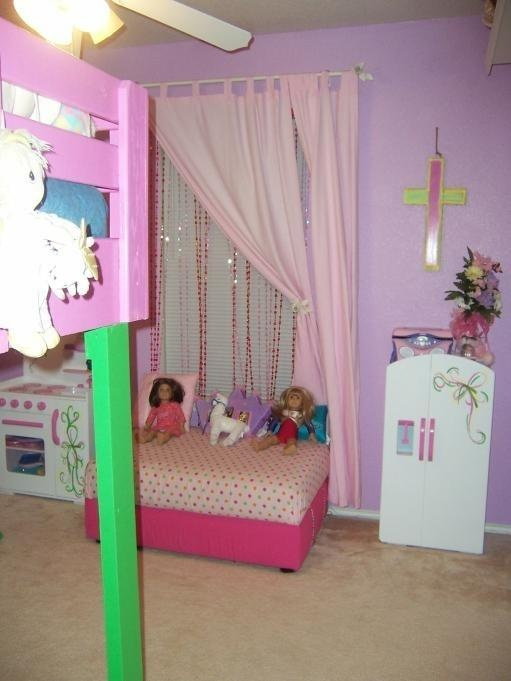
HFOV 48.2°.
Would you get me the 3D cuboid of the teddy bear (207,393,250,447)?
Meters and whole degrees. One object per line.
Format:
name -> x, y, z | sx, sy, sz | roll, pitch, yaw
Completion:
teddy bear -> -0.174, 0.490, 3.570 | 0.240, 0.261, 0.271 | 0, 7, -3
